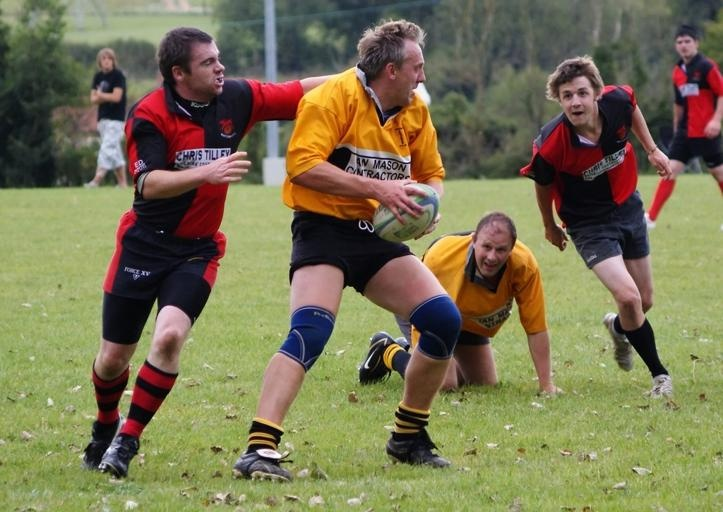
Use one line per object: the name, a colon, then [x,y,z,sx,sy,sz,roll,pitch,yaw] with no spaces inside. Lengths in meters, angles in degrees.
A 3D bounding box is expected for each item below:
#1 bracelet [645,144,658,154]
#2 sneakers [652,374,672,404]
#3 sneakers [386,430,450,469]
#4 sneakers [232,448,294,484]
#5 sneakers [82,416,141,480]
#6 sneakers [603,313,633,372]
bracelet: [2.689,-0.989,9.661,0.071,0.032,0.084,-7,-26,-5]
sneakers: [2.625,1.149,9.076,0.140,0.227,0.206,15,-23,-37]
sneakers: [0.423,1.489,7.942,0.567,0.277,0.220,2,-15,39]
sneakers: [-0.714,1.509,7.473,0.345,0.194,0.225,2,0,-3]
sneakers: [-1.866,1.492,7.899,0.260,0.236,0.642,-26,18,2]
sneakers: [2.453,0.780,9.804,0.198,0.626,0.263,-28,22,-29]
